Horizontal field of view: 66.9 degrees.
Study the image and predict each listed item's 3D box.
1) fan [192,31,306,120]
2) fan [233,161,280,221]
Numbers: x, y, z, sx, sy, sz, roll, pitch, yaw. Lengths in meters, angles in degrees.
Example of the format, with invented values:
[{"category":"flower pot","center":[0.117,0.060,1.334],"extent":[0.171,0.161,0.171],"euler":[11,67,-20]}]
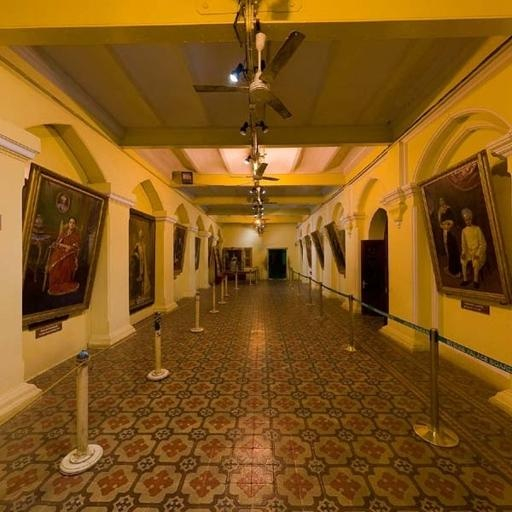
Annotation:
[{"category":"fan","center":[0.056,-1.915,4.266],"extent":[1.056,0.388,1.108],"euler":[-1,1,-7]},{"category":"fan","center":[0.059,-1.520,8.975],"extent":[1.016,1.018,0.972],"euler":[-3,6,-34]}]
